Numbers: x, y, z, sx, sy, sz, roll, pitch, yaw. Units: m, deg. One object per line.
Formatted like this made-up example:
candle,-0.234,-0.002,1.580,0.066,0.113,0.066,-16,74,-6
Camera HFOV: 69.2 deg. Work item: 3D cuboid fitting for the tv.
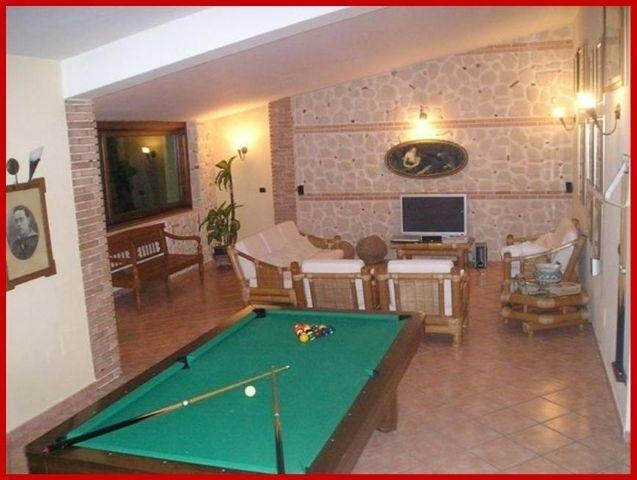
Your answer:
tv,2.431,-0.449,9.575,1.109,0.746,0.316,1,8,17

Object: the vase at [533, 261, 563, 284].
vase,3.257,0.449,6.575,0.440,0.357,0.323,-4,6,-31

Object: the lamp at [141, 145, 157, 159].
lamp,-3.608,-1.878,9.826,0.249,0.236,0.142,-16,31,-34

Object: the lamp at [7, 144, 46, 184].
lamp,-2.963,-0.770,4.665,0.348,0.393,0.315,11,10,33

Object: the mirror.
mirror,-3.656,-1.494,9.797,0.239,1.994,2.934,4,14,20

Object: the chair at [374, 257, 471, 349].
chair,1.415,0.824,6.263,1.229,1.110,1.133,1,16,14

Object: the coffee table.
coffee table,3.230,0.950,6.570,0.939,0.373,0.951,-3,1,-5

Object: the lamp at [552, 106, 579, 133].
lamp,4.653,-2.312,8.745,0.420,0.513,1.786,3,14,26

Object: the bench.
bench,-3.087,0.521,8.594,0.650,0.900,1.544,6,15,20

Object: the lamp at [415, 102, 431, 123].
lamp,2.273,-2.776,10.042,0.239,0.350,0.131,-1,14,10

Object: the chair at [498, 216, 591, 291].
chair,3.697,0.166,7.626,1.423,1.162,1.074,1,25,23

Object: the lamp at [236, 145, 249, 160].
lamp,-1.884,-2.192,11.471,0.244,0.298,0.061,3,48,-1
